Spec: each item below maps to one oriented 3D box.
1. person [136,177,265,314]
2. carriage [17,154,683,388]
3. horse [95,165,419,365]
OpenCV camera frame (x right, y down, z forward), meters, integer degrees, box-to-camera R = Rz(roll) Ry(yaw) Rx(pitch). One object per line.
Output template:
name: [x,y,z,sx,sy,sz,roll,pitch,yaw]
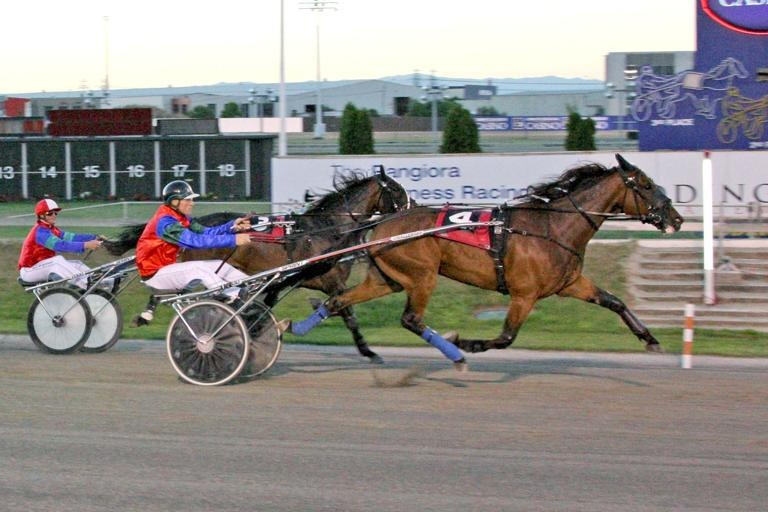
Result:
person: [-2.714,-0.069,18.157,1.613,1.984,0.668,-3,6,-7]
carriage: [0.931,-0.027,26.016,21.688,4.134,5.010,-2,-3,1]
horse: [-1.354,0.240,20.214,1.268,2.497,6.119,6,-9,-39]
